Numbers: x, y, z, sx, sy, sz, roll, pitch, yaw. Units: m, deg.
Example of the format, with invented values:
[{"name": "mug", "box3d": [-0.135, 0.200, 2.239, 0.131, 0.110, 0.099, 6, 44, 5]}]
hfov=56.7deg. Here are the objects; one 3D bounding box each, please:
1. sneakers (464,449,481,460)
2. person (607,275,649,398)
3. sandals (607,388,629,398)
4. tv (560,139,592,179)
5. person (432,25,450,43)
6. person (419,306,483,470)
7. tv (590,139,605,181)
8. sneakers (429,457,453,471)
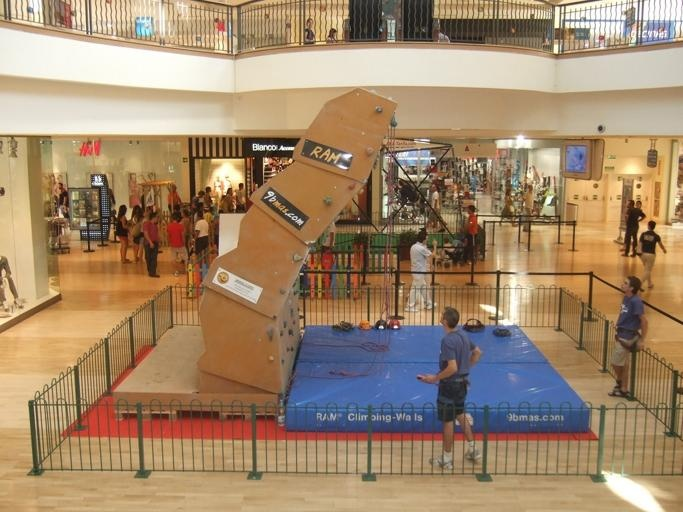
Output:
[{"name": "sneakers", "box3d": [1.891, 2.887, 9.209, 0.108, 0.147, 0.293, -14, 2, -4]}, {"name": "person", "box3d": [4.867, 1.376, 10.765, 0.460, 2.090, 0.477, 5, 13, 24]}, {"name": "sandals", "box3d": [4.731, 2.350, 10.913, 0.359, 0.168, 0.134, 4, 4, 9]}, {"name": "tv", "box3d": [5.978, -2.478, 16.186, 0.095, 0.994, 0.979, -7, 12, -23]}, {"name": "person", "box3d": [2.271, -5.040, 14.359, 0.370, 0.399, 0.707, 3, 14, 14]}, {"name": "person", "box3d": [1.555, 1.898, 8.981, 0.853, 2.202, 0.526, -7, 14, -30]}, {"name": "tv", "box3d": [6.299, -2.370, 15.458, 0.097, 0.984, 0.674, 8, 12, 13]}, {"name": "sneakers", "box3d": [1.411, 2.969, 9.003, 0.330, 0.182, 0.133, 13, 14, 35]}]
